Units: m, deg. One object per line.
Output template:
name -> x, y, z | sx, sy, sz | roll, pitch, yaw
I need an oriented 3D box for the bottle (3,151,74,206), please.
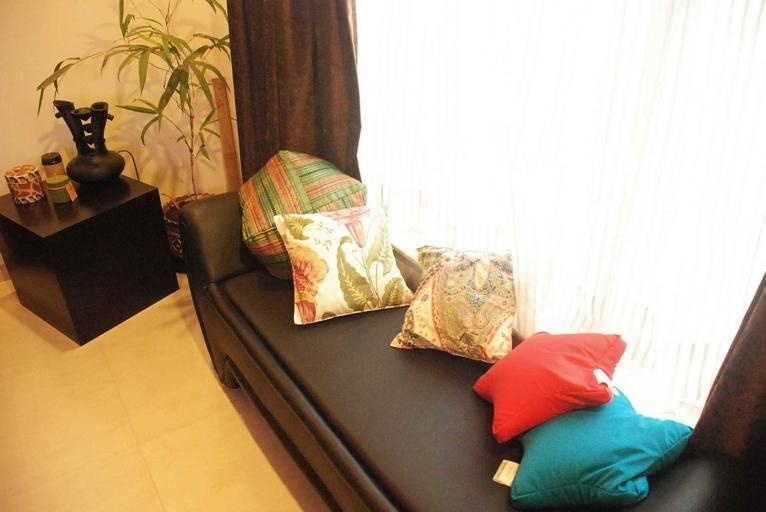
bottle -> -1.804, -0.405, 2.825 | 0.296, 0.220, 0.307 | 2, 24, -1
